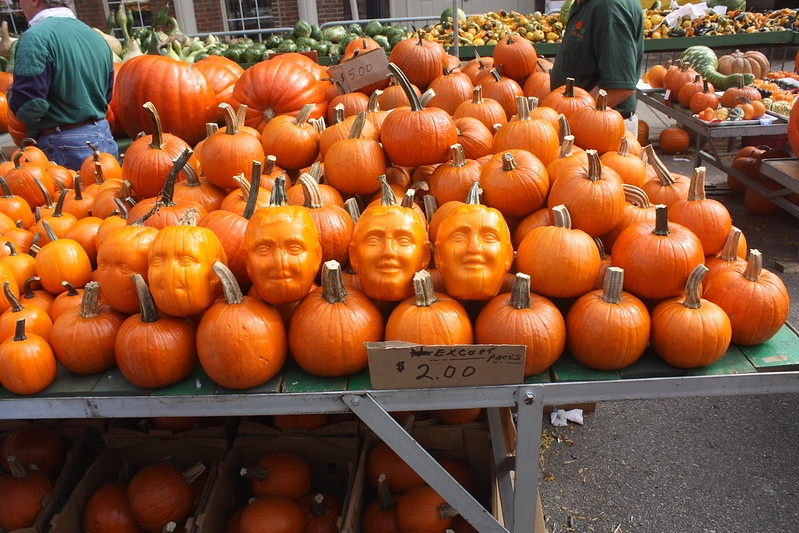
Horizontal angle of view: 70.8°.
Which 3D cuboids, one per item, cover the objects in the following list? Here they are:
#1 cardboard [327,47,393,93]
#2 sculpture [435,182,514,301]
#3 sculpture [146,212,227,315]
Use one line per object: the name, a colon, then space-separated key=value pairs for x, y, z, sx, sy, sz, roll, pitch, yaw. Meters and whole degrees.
cardboard: x=-0.311 y=-1.547 z=4.452 sx=0.457 sy=0.293 sz=0.463 roll=-23 pitch=28 yaw=0
sculpture: x=0.371 y=-0.100 z=2.867 sx=0.430 sy=0.455 sz=0.649 roll=2 pitch=65 yaw=1
sculpture: x=-1.025 y=0.021 z=2.927 sx=0.431 sy=0.586 sz=0.433 roll=0 pitch=-18 yaw=-3
